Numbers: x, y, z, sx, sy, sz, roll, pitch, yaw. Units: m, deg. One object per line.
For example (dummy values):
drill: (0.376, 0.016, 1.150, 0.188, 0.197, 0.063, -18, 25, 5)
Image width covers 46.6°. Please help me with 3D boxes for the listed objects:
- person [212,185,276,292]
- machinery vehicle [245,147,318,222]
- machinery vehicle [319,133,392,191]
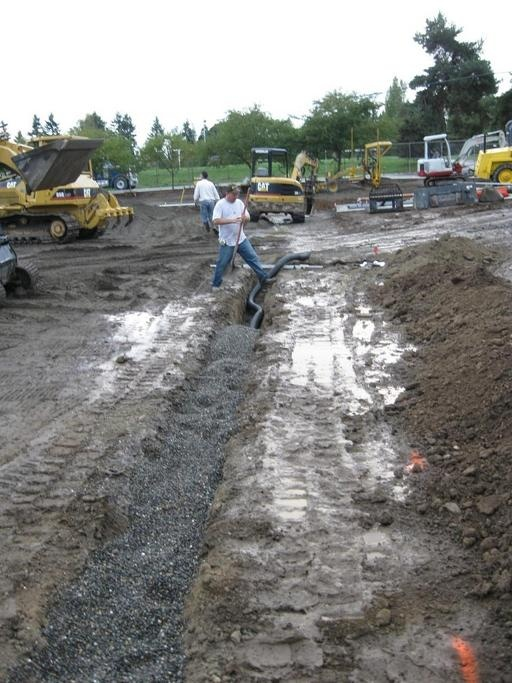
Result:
person: (-0.328, -1.560, 9.010, 0.767, 1.522, 0.901, -2, 13, 7)
machinery vehicle: (0.797, -5.313, 19.309, 2.124, 2.370, 4.612, 1, 31, 6)
machinery vehicle: (5.437, -9.505, 32.735, 3.623, 2.069, 1.998, -8, 22, 0)
